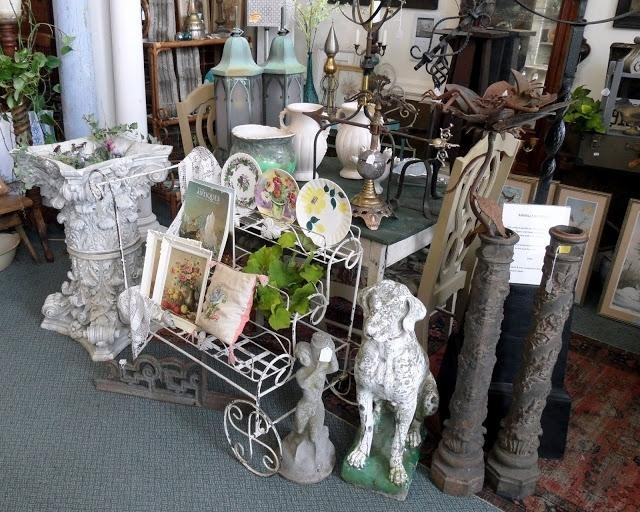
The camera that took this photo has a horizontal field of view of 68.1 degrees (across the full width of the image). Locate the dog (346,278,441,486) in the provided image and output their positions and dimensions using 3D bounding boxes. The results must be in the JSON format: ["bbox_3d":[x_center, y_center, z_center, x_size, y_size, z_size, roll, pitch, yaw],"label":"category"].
[{"bbox_3d":[0.296,0.467,1.816,0.332,0.795,0.313,10,23,16],"label":"dog"}]

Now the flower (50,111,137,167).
[{"bbox_3d":[-1.183,-0.629,2.575,0.085,0.328,0.323,30,42,13],"label":"flower"}]

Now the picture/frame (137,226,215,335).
[{"bbox_3d":[-0.617,0.115,2.048,0.357,0.424,0.043,20,14,25],"label":"picture/frame"}]

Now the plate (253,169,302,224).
[{"bbox_3d":[-0.174,-0.278,2.155,0.062,0.260,0.258,17,65,20],"label":"plate"}]

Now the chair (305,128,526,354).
[{"bbox_3d":[0.424,-0.019,2.455,0.784,1.396,0.761,23,33,36],"label":"chair"}]

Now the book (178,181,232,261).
[{"bbox_3d":[-0.499,-0.160,2.153,0.325,0.348,0.104,16,31,20],"label":"book"}]

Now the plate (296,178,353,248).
[{"bbox_3d":[0.016,-0.182,1.973,0.261,0.283,0.039,21,23,41],"label":"plate"}]

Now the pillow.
[{"bbox_3d":[-0.387,0.202,1.968,0.181,0.321,0.327,-6,16,-44],"label":"pillow"}]
